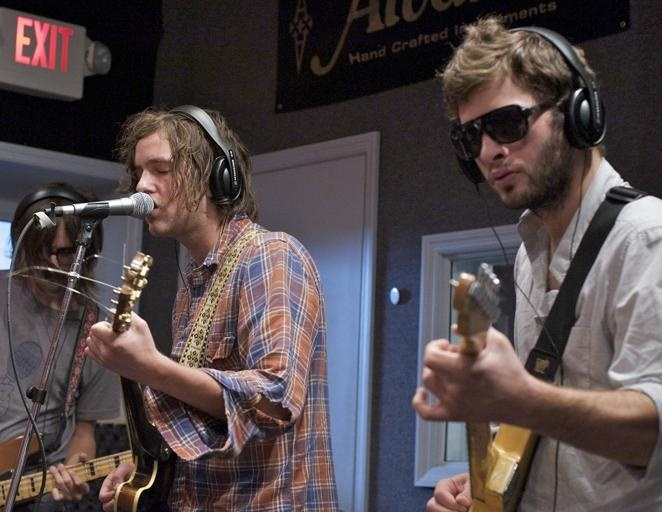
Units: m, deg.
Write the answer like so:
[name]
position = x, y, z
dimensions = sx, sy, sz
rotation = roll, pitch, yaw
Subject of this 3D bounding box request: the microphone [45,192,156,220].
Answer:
[microphone]
position = -0.694, -0.168, 2.040
dimensions = 0.291, 0.090, 0.087
rotation = -6, 10, -44

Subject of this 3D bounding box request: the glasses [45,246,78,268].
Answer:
[glasses]
position = -0.707, 0.002, 1.796
dimensions = 0.042, 0.058, 0.058
rotation = 10, 8, 20
